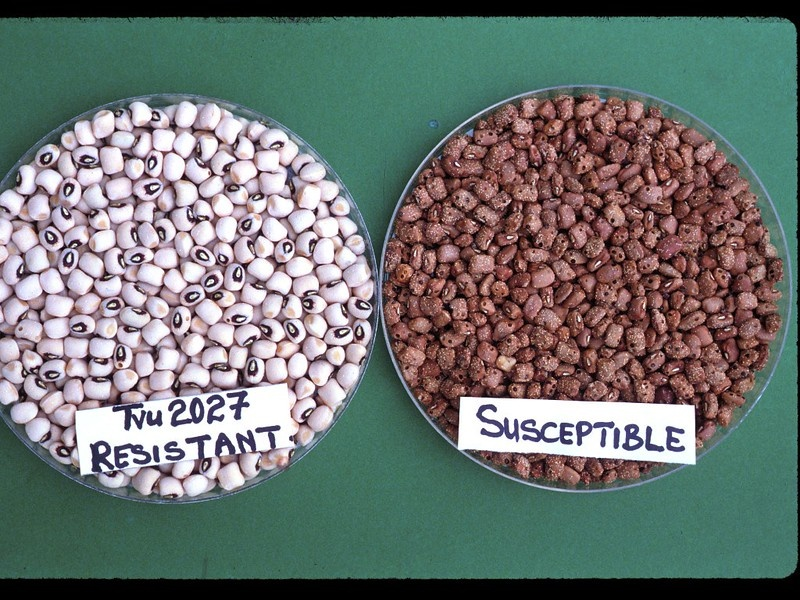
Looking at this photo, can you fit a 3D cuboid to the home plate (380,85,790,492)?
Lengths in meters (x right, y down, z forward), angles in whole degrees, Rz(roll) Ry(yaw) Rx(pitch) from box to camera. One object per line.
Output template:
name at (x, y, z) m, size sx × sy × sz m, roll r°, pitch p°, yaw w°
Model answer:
home plate at (0.455, -0.069, 1.890) m, size 1.010 × 0.483 × 0.813 m, roll -5°, pitch 56°, yaw -6°
